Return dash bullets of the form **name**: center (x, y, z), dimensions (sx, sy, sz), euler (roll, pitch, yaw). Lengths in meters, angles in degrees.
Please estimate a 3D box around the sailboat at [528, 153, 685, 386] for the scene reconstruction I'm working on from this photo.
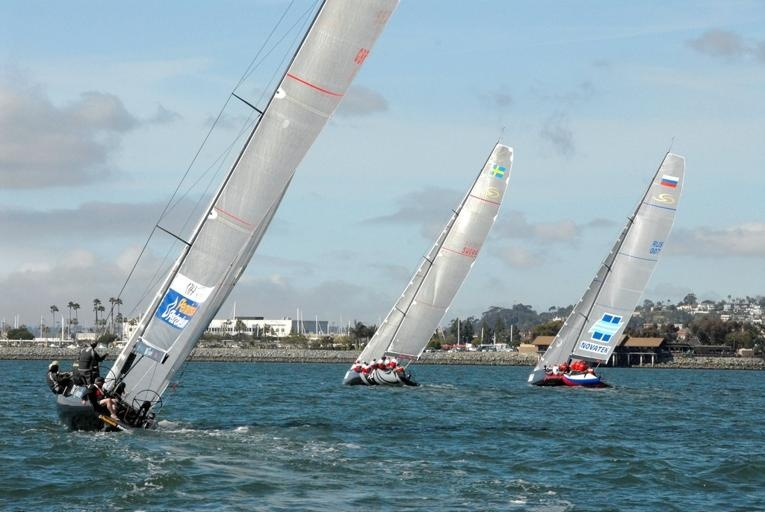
- **sailboat**: center (11.339, 0.943, 46.494), dimensions (4.874, 12.165, 2.695), euler (10, -6, 19)

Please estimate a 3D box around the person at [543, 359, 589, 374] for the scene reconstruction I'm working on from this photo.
- **person**: center (9.204, 5.649, 46.201), dimensions (0.881, 0.573, 1.686), euler (-2, 0, 44)
